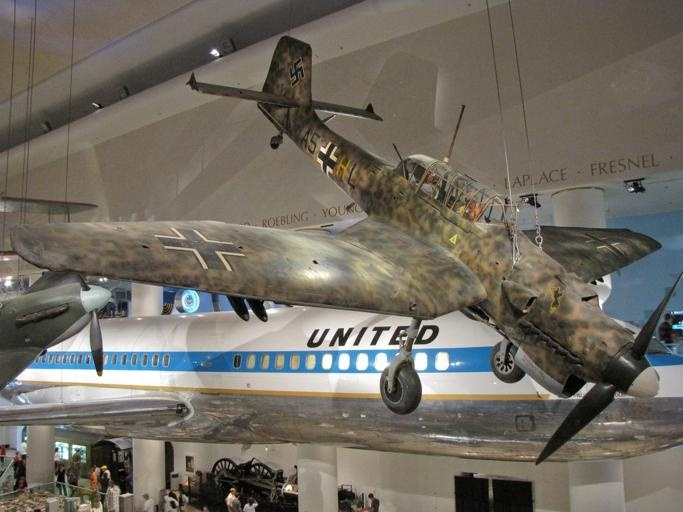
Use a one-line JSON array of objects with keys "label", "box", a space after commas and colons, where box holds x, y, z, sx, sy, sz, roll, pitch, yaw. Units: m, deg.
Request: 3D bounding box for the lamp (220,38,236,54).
[{"label": "lamp", "box": [-2.773, -5.078, 12.785, 0.285, 0.306, 0.283, -8, -3, 8]}]

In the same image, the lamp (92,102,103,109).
[{"label": "lamp", "box": [-7.086, -4.327, 15.167, 0.281, 0.084, 0.222, -11, -56, 42]}]

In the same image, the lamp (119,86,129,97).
[{"label": "lamp", "box": [-6.025, -4.535, 14.460, 0.242, 0.197, 0.100, -2, 7, 9]}]
